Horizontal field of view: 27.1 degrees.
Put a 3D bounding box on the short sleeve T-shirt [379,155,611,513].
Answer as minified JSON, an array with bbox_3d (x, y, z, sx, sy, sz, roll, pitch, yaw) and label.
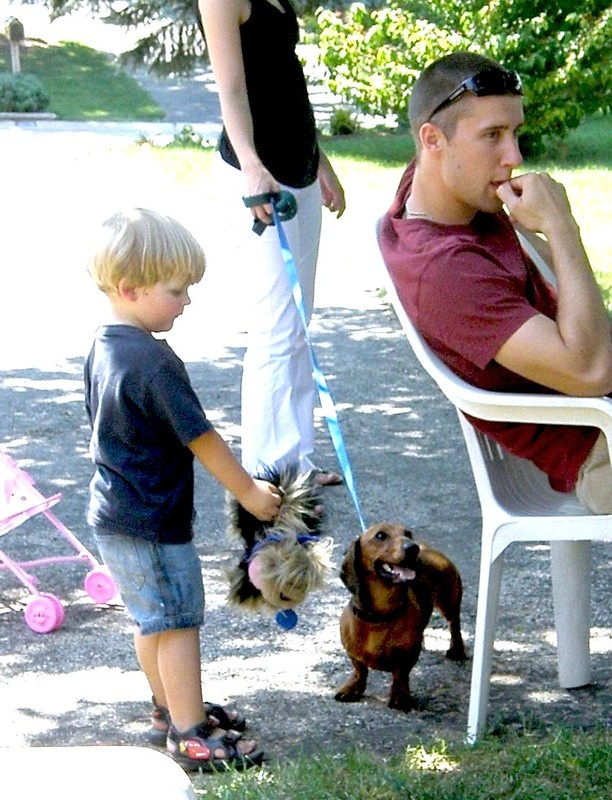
[{"bbox_3d":[0.500,-0.115,3.459,0.533,0.814,0.663,-5,16,3],"label":"short sleeve T-shirt"}]

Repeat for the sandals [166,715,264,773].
[{"bbox_3d":[-0.258,0.898,3.359,0.280,0.089,0.124,5,8,12],"label":"sandals"}]

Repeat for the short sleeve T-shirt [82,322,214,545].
[{"bbox_3d":[-0.423,0.098,3.285,0.381,0.588,0.205,-4,17,5],"label":"short sleeve T-shirt"}]

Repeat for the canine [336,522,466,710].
[{"bbox_3d":[0.286,0.634,3.704,0.313,0.462,0.779,-1,-8,26],"label":"canine"}]

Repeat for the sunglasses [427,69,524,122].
[{"bbox_3d":[0.450,-0.824,3.379,0.180,0.046,0.171,-22,-4,26],"label":"sunglasses"}]
